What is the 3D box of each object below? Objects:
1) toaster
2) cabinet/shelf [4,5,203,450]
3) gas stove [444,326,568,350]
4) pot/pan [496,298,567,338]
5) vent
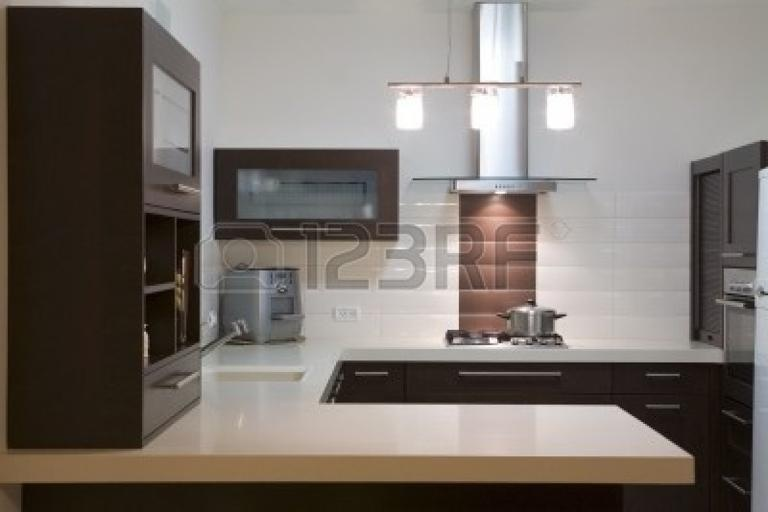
[{"bbox_3d":[-0.877,0.333,3.987,0.625,0.439,0.562,5,-9,-36],"label":"toaster"},{"bbox_3d":[-0.996,-0.102,2.181,0.688,1.529,0.375,-2,6,-21],"label":"cabinet/shelf"},{"bbox_3d":[0.742,0.495,3.803,0.712,0.069,0.411,0,5,5],"label":"gas stove"},{"bbox_3d":[0.902,0.397,3.690,0.403,0.178,0.242,0,-5,3],"label":"pot/pan"},{"bbox_3d":[0.781,-1.021,3.804,1.405,1.157,0.726,0,-1,0],"label":"vent"}]
